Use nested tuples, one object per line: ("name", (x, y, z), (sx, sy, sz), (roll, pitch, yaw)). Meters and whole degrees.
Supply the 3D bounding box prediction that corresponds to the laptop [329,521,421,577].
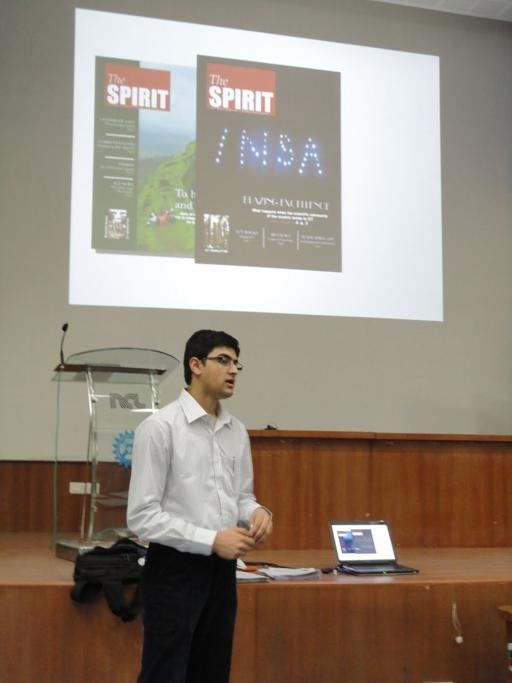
("laptop", (0.381, 0.683, 2.325), (0.253, 0.143, 0.223), (-1, -2, -20))
